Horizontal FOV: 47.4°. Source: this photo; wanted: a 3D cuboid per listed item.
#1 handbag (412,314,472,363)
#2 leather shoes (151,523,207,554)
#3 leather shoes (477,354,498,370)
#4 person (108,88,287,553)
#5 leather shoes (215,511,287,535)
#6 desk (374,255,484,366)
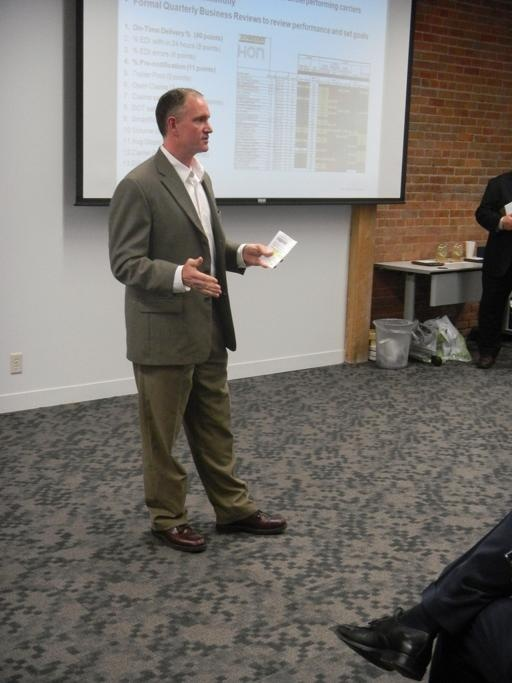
[{"bbox_3d":[1.639,-0.021,5.219,0.389,0.238,0.482,-2,10,-5],"label":"handbag"},{"bbox_3d":[-0.279,0.707,2.188,0.221,0.089,0.084,6,11,36],"label":"leather shoes"},{"bbox_3d":[2.007,0.184,5.143,0.126,0.110,0.271,5,7,30],"label":"leather shoes"},{"bbox_3d":[-0.227,-0.040,2.077,0.416,1.636,0.589,4,7,28],"label":"person"},{"bbox_3d":[-0.017,0.719,2.354,0.290,0.115,0.104,-2,12,0],"label":"leather shoes"},{"bbox_3d":[1.610,-0.293,5.453,0.833,0.704,0.607,-5,13,-43],"label":"desk"}]
